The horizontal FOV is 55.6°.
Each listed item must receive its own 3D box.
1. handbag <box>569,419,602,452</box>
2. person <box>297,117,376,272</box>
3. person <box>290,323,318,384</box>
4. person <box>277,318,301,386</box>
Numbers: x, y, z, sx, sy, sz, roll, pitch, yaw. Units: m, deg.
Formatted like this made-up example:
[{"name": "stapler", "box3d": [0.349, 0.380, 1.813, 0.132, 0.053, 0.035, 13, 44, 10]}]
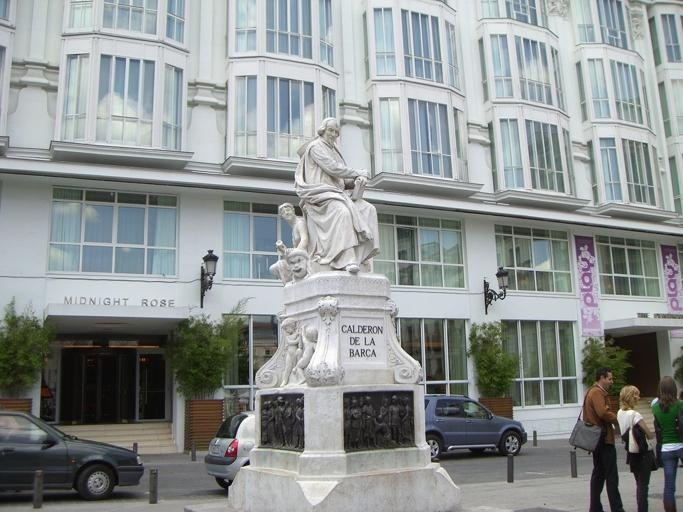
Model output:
[{"name": "handbag", "box3d": [4.064, 3.004, 10.832, 0.535, 0.517, 0.301, -7, -11, 35]}, {"name": "person", "box3d": [-0.087, -1.143, 12.064, 1.421, 3.063, 0.717, -6, -10, 28]}, {"name": "person", "box3d": [-0.647, 1.708, 11.219, 0.208, 0.987, 0.569, 7, -12, -43]}, {"name": "person", "box3d": [-0.905, 1.741, 11.501, 0.412, 1.416, 0.595, 7, -25, -13]}]
